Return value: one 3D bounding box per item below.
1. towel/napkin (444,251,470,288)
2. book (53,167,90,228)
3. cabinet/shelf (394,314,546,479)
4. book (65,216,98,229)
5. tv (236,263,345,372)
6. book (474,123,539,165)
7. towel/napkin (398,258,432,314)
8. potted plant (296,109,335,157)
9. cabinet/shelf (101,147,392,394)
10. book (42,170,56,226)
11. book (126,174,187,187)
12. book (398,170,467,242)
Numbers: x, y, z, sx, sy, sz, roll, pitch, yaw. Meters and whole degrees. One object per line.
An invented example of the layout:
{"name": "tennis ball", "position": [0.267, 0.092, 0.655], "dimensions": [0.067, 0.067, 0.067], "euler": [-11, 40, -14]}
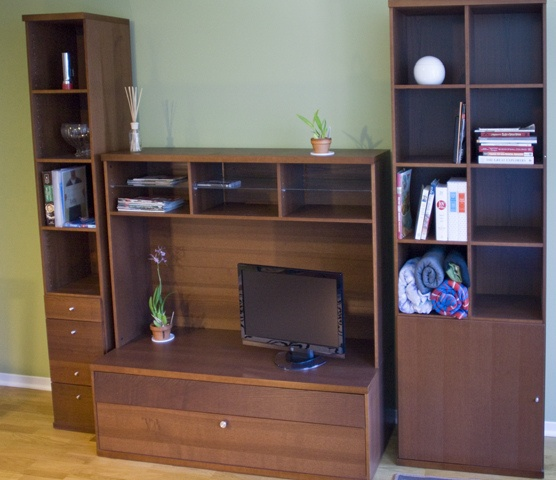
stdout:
{"name": "towel/napkin", "position": [0.860, 0.133, 2.585], "dimensions": [0.069, 0.079, 0.240], "euler": [4, 19, 5]}
{"name": "book", "position": [-1.181, -0.239, 3.017], "dimensions": [0.112, 0.286, 0.297], "euler": [3, 11, 12]}
{"name": "cabinet/shelf", "position": [0.939, 0.728, 2.544], "dimensions": [0.727, 0.772, 0.282], "euler": [1, 7, 14]}
{"name": "book", "position": [-1.085, -0.095, 3.001], "dimensions": [0.210, 0.033, 0.153], "euler": [1, 12, 12]}
{"name": "tv", "position": [0.064, 0.409, 2.745], "dimensions": [0.463, 0.418, 0.215], "euler": [1, 7, 20]}
{"name": "book", "position": [1.027, -0.431, 2.423], "dimensions": [0.245, 0.168, 0.177], "euler": [3, 11, 20]}
{"name": "towel/napkin", "position": [0.650, 0.221, 2.574], "dimensions": [0.165, 0.235, 0.082], "euler": [2, 2, 17]}
{"name": "potted plant", "position": [0.192, -0.528, 2.611], "dimensions": [0.141, 0.232, 0.170], "euler": [-1, 5, 20]}
{"name": "cabinet/shelf", "position": [-0.143, 0.148, 2.859], "dimensions": [1.235, 1.186, 0.372], "euler": [2, 10, 15]}
{"name": "book", "position": [-1.283, -0.229, 2.979], "dimensions": [0.095, 0.299, 0.025], "euler": [6, 12, 35]}
{"name": "book", "position": [-0.664, -0.314, 2.926], "dimensions": [0.328, 0.058, 0.281], "euler": [-4, 12, -14]}
{"name": "book", "position": [0.757, -0.192, 2.632], "dimensions": [0.323, 0.332, 0.447], "euler": [2, 11, 16]}
